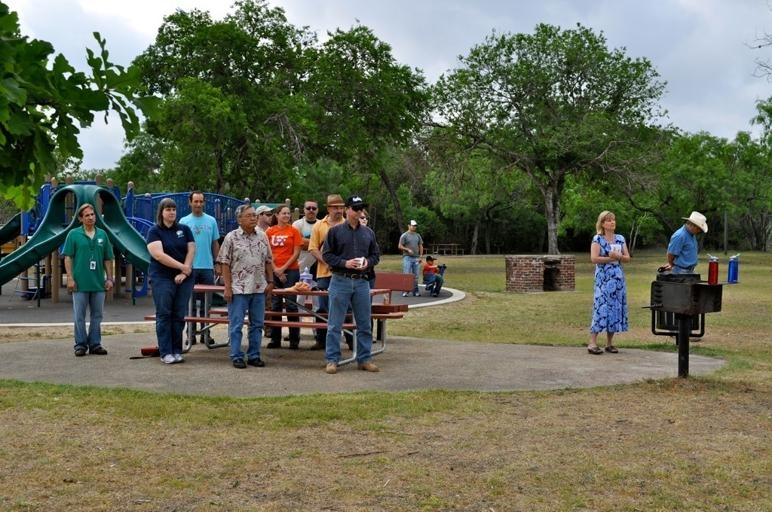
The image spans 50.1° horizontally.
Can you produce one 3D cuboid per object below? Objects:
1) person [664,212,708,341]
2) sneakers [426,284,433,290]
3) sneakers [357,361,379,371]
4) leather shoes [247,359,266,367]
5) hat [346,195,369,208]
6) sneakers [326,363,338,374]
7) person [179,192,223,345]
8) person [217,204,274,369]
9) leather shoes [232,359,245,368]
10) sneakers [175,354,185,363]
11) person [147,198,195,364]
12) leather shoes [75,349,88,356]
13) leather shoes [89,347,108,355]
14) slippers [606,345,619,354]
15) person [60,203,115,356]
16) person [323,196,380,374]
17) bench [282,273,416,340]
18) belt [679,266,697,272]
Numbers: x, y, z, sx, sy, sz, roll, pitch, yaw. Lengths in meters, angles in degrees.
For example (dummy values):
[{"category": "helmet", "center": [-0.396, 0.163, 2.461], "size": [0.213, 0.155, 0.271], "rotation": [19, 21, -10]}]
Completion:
[{"category": "person", "center": [4.662, -0.210, 12.831], "size": [0.567, 0.937, 2.037], "rotation": [2, 5, 20]}, {"category": "sneakers", "center": [1.238, 0.873, 23.526], "size": [0.171, 0.165, 0.299], "rotation": [0, 4, 3]}, {"category": "sneakers", "center": [-0.255, 1.549, 11.582], "size": [0.295, 0.121, 0.106], "rotation": [-2, 2, 26]}, {"category": "leather shoes", "center": [-1.854, 1.538, 11.846], "size": [0.250, 0.091, 0.096], "rotation": [-2, -3, 23]}, {"category": "hat", "center": [-0.423, -0.740, 11.401], "size": [0.259, 0.178, 0.398], "rotation": [0, 4, -1]}, {"category": "sneakers", "center": [-0.747, 1.550, 11.358], "size": [0.107, 0.108, 0.291], "rotation": [0, -11, -7]}, {"category": "person", "center": [-3.012, 0.195, 13.352], "size": [0.844, 2.457, 0.759], "rotation": [-2, -3, -14]}, {"category": "person", "center": [-1.954, 0.421, 11.790], "size": [0.749, 2.313, 0.463], "rotation": [-4, 6, -37]}, {"category": "leather shoes", "center": [-2.076, 1.513, 11.682], "size": [0.179, 0.130, 0.252], "rotation": [-1, 4, -10]}, {"category": "sneakers", "center": [-3.005, 1.495, 12.010], "size": [0.101, 0.107, 0.287], "rotation": [1, -7, -33]}, {"category": "person", "center": [-3.076, 0.369, 11.890], "size": [0.662, 2.374, 0.587], "rotation": [-3, 6, -32]}, {"category": "leather shoes", "center": [-4.570, 1.455, 12.388], "size": [0.074, 0.079, 0.214], "rotation": [0, -9, -37]}, {"category": "leather shoes", "center": [-4.381, 1.450, 12.597], "size": [0.273, 0.103, 0.110], "rotation": [-2, 0, 6]}, {"category": "slippers", "center": [3.537, 1.474, 12.955], "size": [0.115, 0.077, 0.227], "rotation": [0, -4, -23]}, {"category": "person", "center": [-4.560, 0.355, 12.626], "size": [0.663, 2.286, 0.899], "rotation": [-1, 5, -13]}, {"category": "person", "center": [-0.506, 0.384, 11.485], "size": [0.798, 2.435, 0.678], "rotation": [-3, 6, -29]}, {"category": "bench", "center": [-0.354, 0.767, 13.386], "size": [1.553, 0.589, 1.459], "rotation": [1, 3, 24]}, {"category": "belt", "center": [4.692, 0.212, 12.795], "size": [0.133, 0.074, 0.097], "rotation": [15, -11, -30]}]
